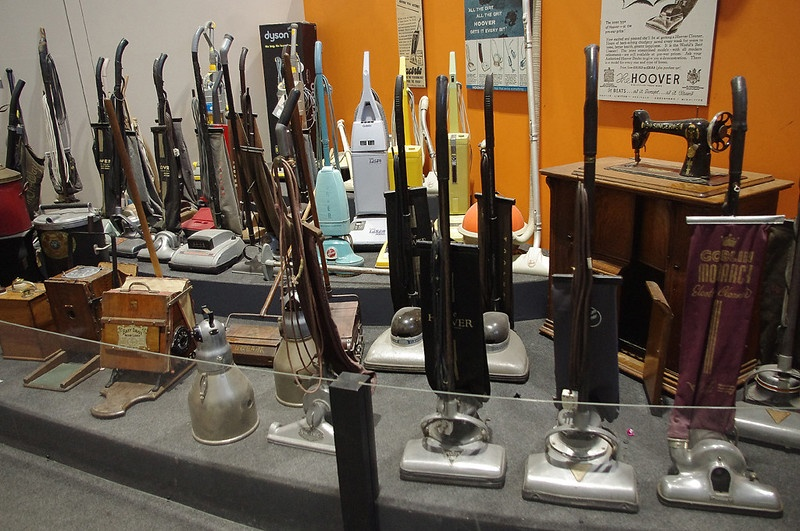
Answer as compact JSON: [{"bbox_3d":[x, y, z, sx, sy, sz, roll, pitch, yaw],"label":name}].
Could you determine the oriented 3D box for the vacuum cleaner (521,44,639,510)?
[{"bbox_3d":[0.731,0.058,2.554,0.416,2.030,0.486,1,0,13],"label":"vacuum cleaner"}]

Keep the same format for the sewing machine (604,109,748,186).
[{"bbox_3d":[1.586,-0.717,3.457,0.283,0.382,0.594,-21,25,-33],"label":"sewing machine"}]

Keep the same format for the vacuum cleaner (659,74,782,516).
[{"bbox_3d":[1.439,0.084,2.510,0.441,1.552,1.228,7,23,25],"label":"vacuum cleaner"}]

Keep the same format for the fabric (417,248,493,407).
[{"bbox_3d":[0.279,0.265,2.984,0.297,0.797,0.318,-3,20,2],"label":"fabric"}]
